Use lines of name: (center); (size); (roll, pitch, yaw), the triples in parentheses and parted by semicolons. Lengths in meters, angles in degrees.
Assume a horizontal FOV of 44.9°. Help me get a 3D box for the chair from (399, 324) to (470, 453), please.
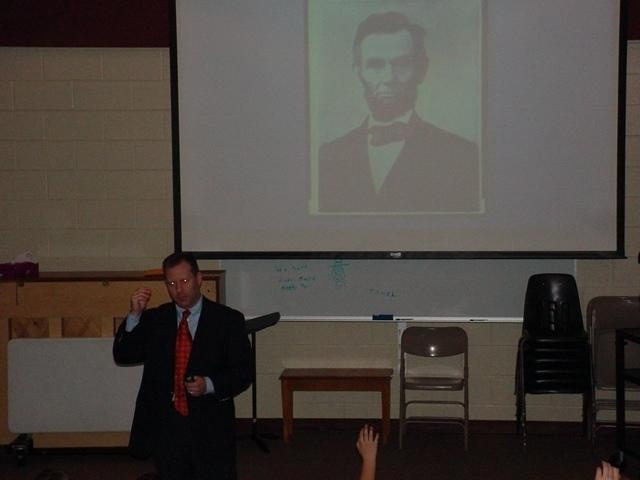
chair: (1.124, 1.329, 7.585); (0.719, 1.154, 0.788); (-1, 7, -7)

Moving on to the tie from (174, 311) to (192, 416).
tie: (-0.983, 0.878, 5.560); (0.127, 0.722, 0.198); (1, 3, -5)

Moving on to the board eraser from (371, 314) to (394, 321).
board eraser: (0.607, 0.741, 7.409); (0.204, 0.059, 0.016); (1, 3, 0)

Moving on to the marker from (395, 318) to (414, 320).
marker: (0.811, 0.758, 7.409); (0.167, 0.034, 0.010); (1, 3, 2)
